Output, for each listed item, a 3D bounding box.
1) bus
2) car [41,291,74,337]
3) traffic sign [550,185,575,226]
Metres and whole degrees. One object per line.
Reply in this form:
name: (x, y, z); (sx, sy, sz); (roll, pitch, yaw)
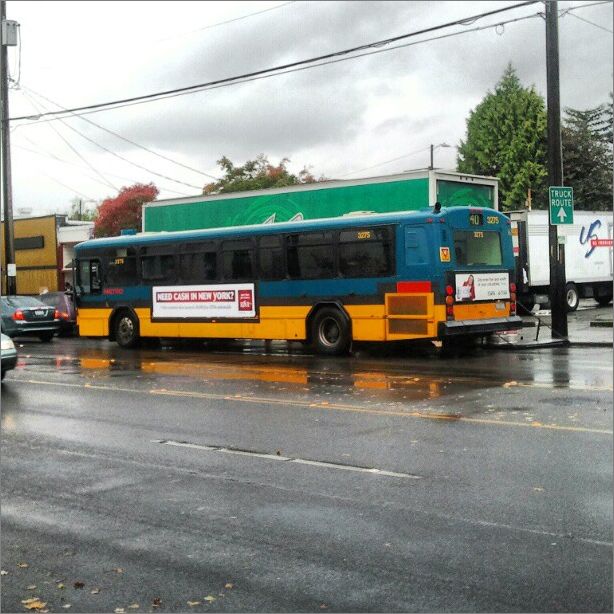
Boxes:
bus: (-1.469, -0.485, 20.152); (12.866, 4.316, 3.659); (-1, -1, 32)
car: (-9.326, 0.241, 27.140); (1.218, 1.254, 2.220); (-3, 8, -42)
traffic sign: (6.756, -2.716, 18.783); (0.866, 1.087, 0.385); (-2, 1, -13)
